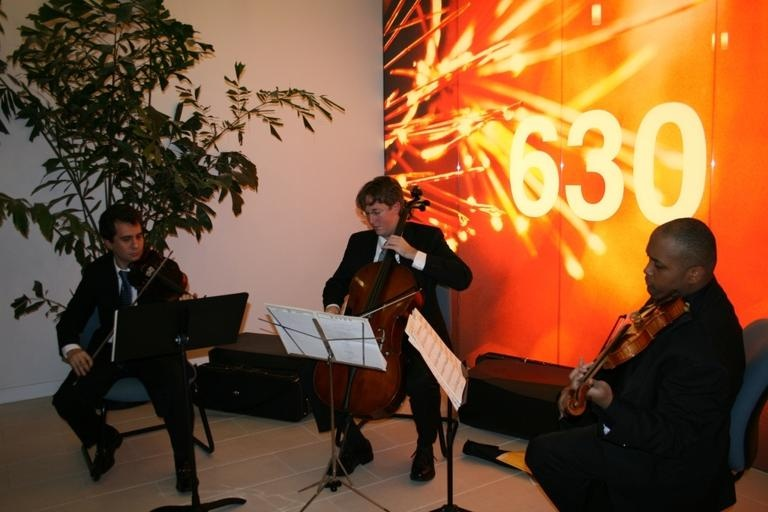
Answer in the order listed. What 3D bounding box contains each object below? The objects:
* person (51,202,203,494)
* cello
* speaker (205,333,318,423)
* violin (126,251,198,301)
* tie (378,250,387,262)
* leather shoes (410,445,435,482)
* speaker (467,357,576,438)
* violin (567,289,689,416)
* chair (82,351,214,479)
[{"bbox_3d":[-1.644,0.610,3.876,1.063,1.767,1.040,5,8,31],"label":"person"},{"bbox_3d":[0.137,0.298,3.805,0.615,1.598,0.314,0,-25,47],"label":"cello"},{"bbox_3d":[-0.967,0.923,4.944,0.889,0.422,0.877,5,12,19],"label":"speaker"},{"bbox_3d":[-1.466,0.136,3.775,0.459,0.248,0.137,32,-20,-30],"label":"violin"},{"bbox_3d":[-0.017,-0.010,4.115,0.045,0.083,0.023,1,-19,46],"label":"tie"},{"bbox_3d":[0.253,1.345,3.872,0.159,0.141,0.357,-3,9,14],"label":"leather shoes"},{"bbox_3d":[1.025,1.007,4.300,0.565,0.368,0.744,-14,15,-42],"label":"speaker"},{"bbox_3d":[1.066,0.413,2.918,0.167,0.840,0.339,44,0,-1],"label":"violin"},{"bbox_3d":[-1.660,0.975,4.029,0.629,0.856,0.618,30,17,22],"label":"chair"}]
